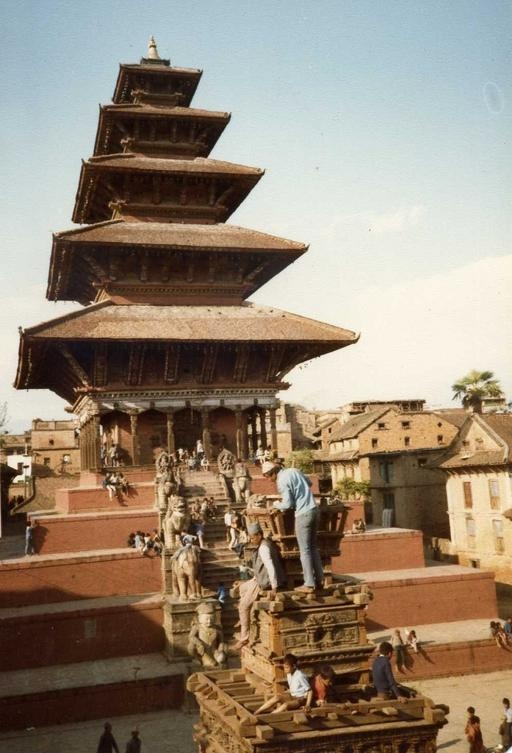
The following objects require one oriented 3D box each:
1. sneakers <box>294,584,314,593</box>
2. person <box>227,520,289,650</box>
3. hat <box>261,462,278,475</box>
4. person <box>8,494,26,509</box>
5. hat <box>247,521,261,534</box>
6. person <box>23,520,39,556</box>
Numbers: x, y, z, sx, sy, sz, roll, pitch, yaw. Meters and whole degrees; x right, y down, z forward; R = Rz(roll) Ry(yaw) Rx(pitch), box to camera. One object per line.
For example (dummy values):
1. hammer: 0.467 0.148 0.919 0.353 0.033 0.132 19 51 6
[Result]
1. sneakers: 0.478 2.173 7.304 0.207 0.072 0.075 -1 -7 38
2. person: 0.014 2.257 7.649 0.521 1.337 1.016 -5 -11 -8
3. hat: 0.138 0.972 7.519 0.184 0.091 0.182 -21 -5 -6
4. person: -15.889 8.295 46.985 1.317 1.075 1.149 3 -8 -19
5. hat: -0.024 1.631 7.670 0.130 0.112 0.105 -5 4 -5
6. person: -6.576 4.690 20.756 0.333 0.994 0.701 -3 -11 -18
